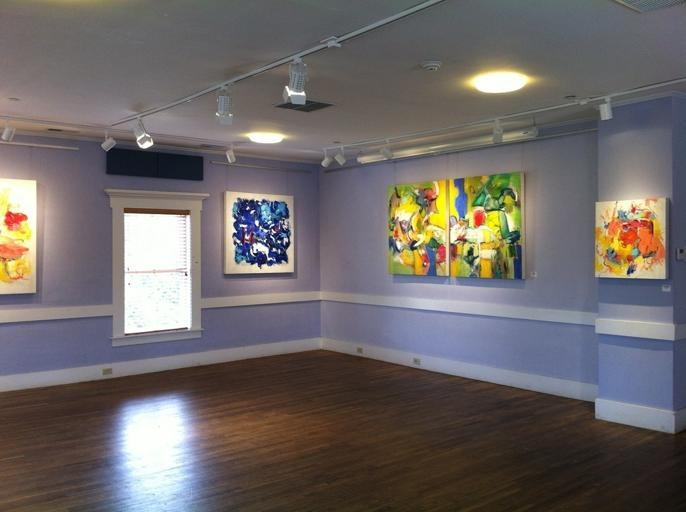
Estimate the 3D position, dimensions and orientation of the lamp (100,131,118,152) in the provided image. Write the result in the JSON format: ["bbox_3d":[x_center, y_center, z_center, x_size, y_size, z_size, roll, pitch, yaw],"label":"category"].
[{"bbox_3d":[-3.295,-1.608,6.871,0.138,0.235,0.223,11,-31,-45],"label":"lamp"}]

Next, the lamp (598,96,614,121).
[{"bbox_3d":[2.833,-1.573,5.309,0.145,0.230,0.387,1,2,28],"label":"lamp"}]

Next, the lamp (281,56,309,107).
[{"bbox_3d":[-0.412,-1.494,4.181,0.176,0.414,0.212,0,2,-7],"label":"lamp"}]

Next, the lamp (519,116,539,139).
[{"bbox_3d":[2.427,-1.655,6.352,0.186,0.345,0.185,-6,9,-37],"label":"lamp"}]

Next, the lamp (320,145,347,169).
[{"bbox_3d":[-0.161,-1.656,8.122,0.373,0.350,0.132,-3,-7,29],"label":"lamp"}]

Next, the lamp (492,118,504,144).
[{"bbox_3d":[1.954,-1.564,6.212,0.081,0.280,0.408,1,2,22],"label":"lamp"}]
